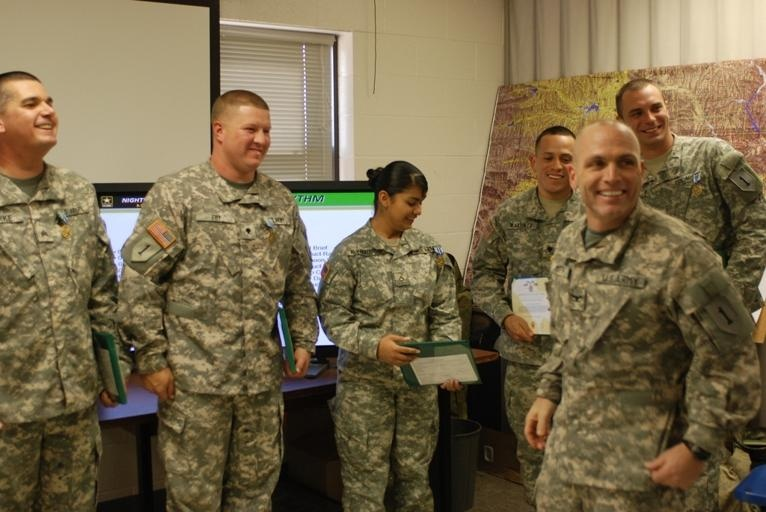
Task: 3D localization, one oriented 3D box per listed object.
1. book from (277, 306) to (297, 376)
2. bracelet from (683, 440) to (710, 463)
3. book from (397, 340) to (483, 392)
[{"bbox_3d":[-0.436,0.398,2.889,0.040,0.197,0.352,-14,4,-7],"label":"book"},{"bbox_3d":[0.985,0.615,1.999,0.076,0.036,0.058,36,9,17],"label":"bracelet"},{"bbox_3d":[0.247,0.517,3.004,0.433,0.290,0.042,-6,35,12],"label":"book"}]
